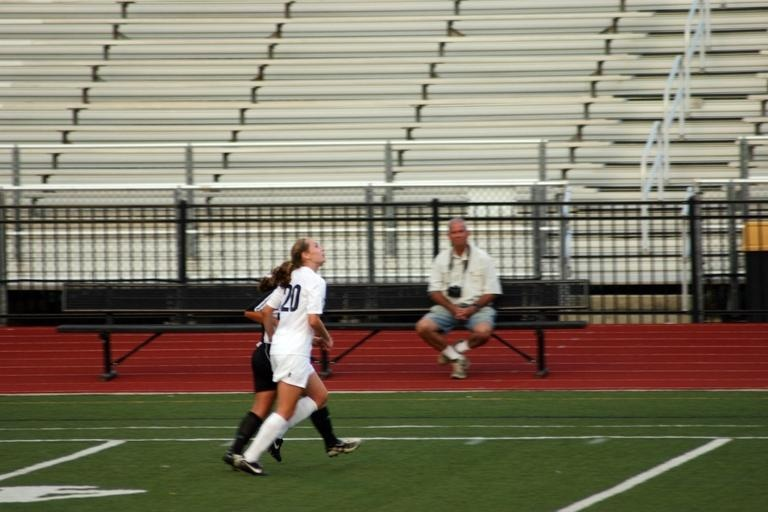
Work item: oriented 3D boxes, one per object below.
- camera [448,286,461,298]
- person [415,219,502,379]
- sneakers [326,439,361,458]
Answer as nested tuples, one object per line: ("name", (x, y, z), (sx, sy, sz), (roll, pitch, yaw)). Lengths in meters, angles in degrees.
("camera", (1.166, 0.580, 22.875), (0.361, 0.178, 0.152), (1, -7, 7))
("person", (1.253, 0.687, 22.923), (1.366, 2.619, 0.541), (2, -4, 4))
("sneakers", (-0.560, 2.687, 19.650), (0.678, 0.193, 0.177), (-11, 24, 0))
